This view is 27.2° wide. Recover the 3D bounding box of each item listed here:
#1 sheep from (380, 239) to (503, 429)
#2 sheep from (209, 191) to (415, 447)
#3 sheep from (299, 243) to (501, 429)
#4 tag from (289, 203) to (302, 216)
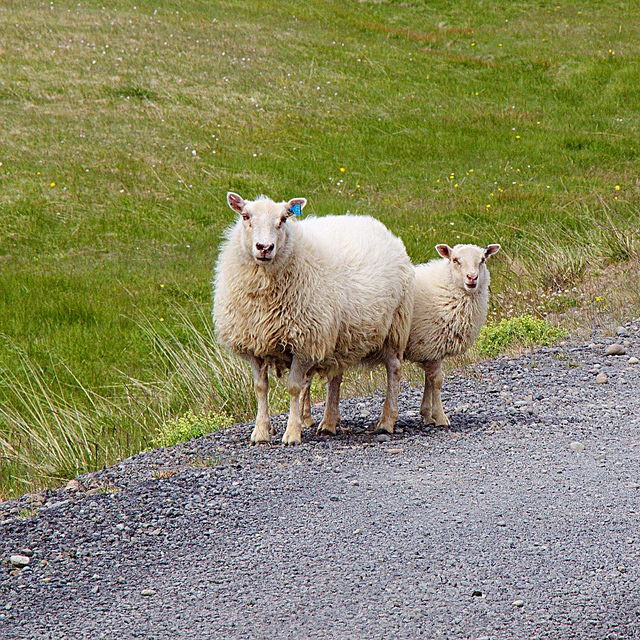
[{"bbox_3d":[1.418,0.199,16.398,0.948,2.205,2.404,1,0,-30],"label":"sheep"},{"bbox_3d":[-0.094,0.006,15.848,1.658,2.877,3.249,6,5,38],"label":"sheep"},{"bbox_3d":[1.115,-0.157,16.333,1.645,2.753,2.109,5,21,15],"label":"sheep"},{"bbox_3d":[-0.290,-1.260,15.046,0.136,0.151,0.039,-1,-1,0],"label":"tag"}]
